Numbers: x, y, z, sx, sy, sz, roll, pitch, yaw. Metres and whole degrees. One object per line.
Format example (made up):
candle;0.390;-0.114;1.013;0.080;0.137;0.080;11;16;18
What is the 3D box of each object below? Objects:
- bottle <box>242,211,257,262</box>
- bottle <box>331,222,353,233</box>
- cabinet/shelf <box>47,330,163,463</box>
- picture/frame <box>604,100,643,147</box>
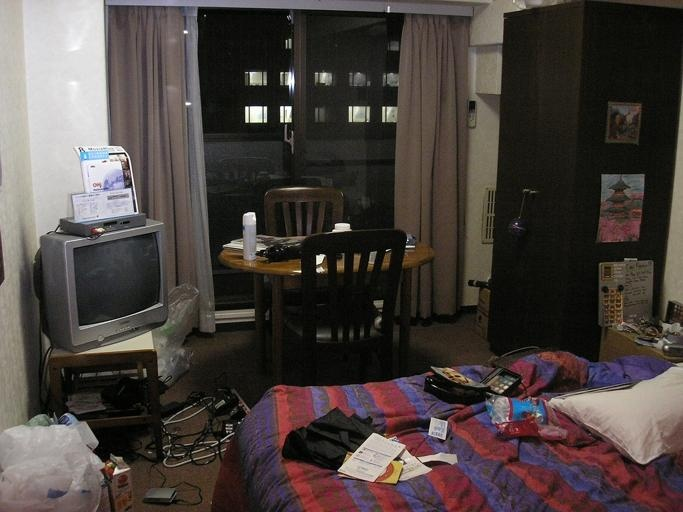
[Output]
bottle;-0.549;-0.124;3.336;0.068;0.279;0.156;1;12;17
bottle;0.002;-0.180;3.571;0.100;0.101;0.103;6;10;31
cabinet/shelf;-1.237;0.655;3.052;0.604;0.663;0.636;-1;5;-19
picture/frame;1.736;-0.827;3.368;0.267;0.317;0.023;-1;6;-11
